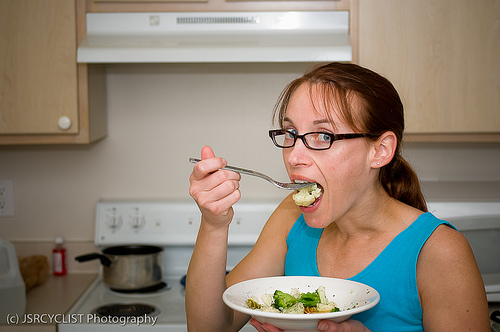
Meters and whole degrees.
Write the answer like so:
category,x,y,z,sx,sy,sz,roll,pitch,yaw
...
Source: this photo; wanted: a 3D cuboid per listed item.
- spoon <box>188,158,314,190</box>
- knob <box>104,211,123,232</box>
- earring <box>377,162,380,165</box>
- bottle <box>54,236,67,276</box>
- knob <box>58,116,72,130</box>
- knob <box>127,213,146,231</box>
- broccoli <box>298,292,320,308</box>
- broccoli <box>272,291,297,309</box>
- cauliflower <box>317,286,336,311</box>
category,x,y,z,sx,sy,sz,roll,pitch,yaw
spoon,0.007,0.026,1.654,0.468,0.049,0.065,13,22,-16
knob,-0.726,0.295,2.311,0.098,0.100,0.039,-2,6,17
earring,0.408,-0.008,1.387,0.007,0.007,0.002,-1,-2,4
bottle,-1.051,0.493,2.412,0.067,0.206,0.079,-5,6,-13
knob,-0.856,-0.199,2.016,0.060,0.062,0.028,-5,6,-10
knob,-0.600,0.295,2.307,0.096,0.092,0.031,-3,6,12
broccoli,0.175,0.391,1.281,0.042,0.018,0.041,2,35,1
broccoli,0.104,0.386,1.283,0.049,0.017,0.044,27,10,20
cauliflower,0.220,0.384,1.264,0.051,0.049,0.074,-3,5,8
